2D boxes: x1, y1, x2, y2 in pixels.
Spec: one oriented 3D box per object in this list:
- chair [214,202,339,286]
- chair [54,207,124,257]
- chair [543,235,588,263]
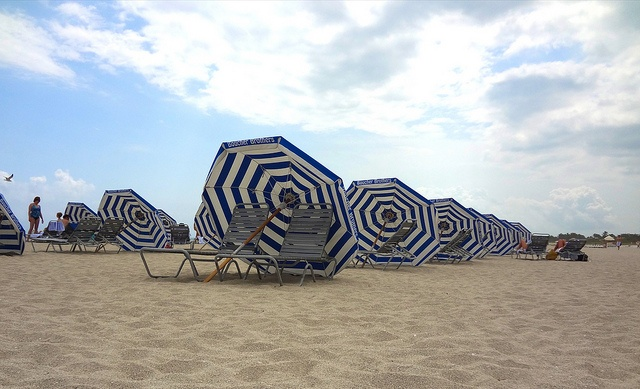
[{"bbox_3d":[-0.679,0.983,8.090,1.428,1.438,2.392,-2,-7,27],"label":"chair"},{"bbox_3d":[-7.153,1.266,12.479,1.871,0.581,0.829,8,-43,-39],"label":"chair"},{"bbox_3d":[10.280,2.358,17.118,1.081,0.885,1.916,2,-5,-6],"label":"chair"}]
